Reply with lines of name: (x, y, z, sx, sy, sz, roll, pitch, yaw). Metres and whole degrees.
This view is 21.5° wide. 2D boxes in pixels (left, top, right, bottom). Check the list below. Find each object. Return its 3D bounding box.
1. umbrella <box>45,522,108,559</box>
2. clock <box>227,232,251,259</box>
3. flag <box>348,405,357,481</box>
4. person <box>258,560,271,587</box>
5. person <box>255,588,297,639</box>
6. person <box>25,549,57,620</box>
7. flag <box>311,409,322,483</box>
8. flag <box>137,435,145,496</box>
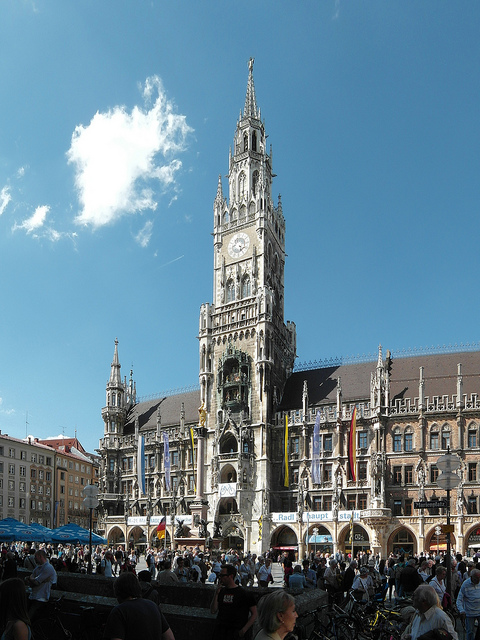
umbrella: (-6.022, 7.922, 45.765, 1.396, 0.892, 1.616, -2, -24, 11)
clock: (-0.030, -4.822, 84.441, 0.072, 1.611, 1.265, 13, -21, -37)
flag: (6.532, 7.301, 72.770, 0.578, 4.249, 1.071, -2, -13, 5)
person: (0.752, 7.860, 38.853, 0.318, 0.836, 0.941, -1, -15, 2)
person: (0.624, 5.272, 22.517, 0.550, 1.198, 0.952, 0, -16, -11)
person: (-4.773, 6.390, 30.009, 0.698, 1.587, 2.003, 2, -16, -9)
flag: (4.546, 7.797, 74.630, 0.478, 4.079, 0.890, 3, -13, -15)
flag: (-6.831, 10.121, 86.303, 0.593, 0.065, 4.493, 7, -62, 11)
